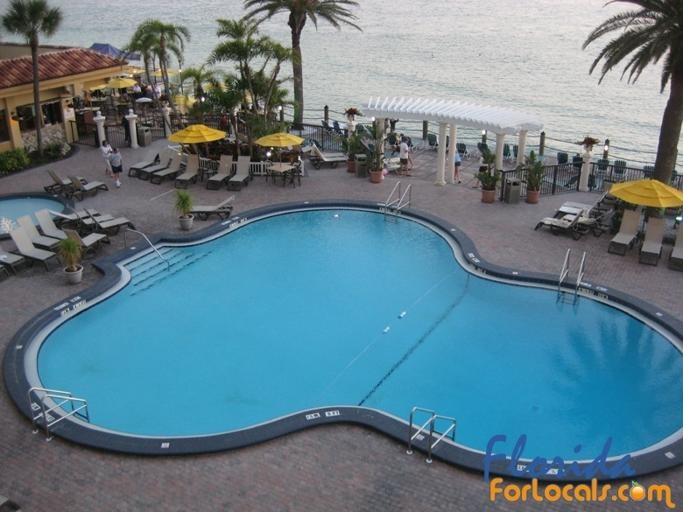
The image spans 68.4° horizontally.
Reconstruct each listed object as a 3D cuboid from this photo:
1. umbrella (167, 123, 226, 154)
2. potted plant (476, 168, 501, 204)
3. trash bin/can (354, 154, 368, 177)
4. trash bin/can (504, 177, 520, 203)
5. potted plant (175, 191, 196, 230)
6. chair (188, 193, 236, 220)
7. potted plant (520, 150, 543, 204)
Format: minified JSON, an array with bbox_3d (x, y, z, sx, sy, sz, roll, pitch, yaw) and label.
[{"bbox_3d":[-6.660,-5.751,22.404,1.860,0.702,1.895,12,29,22],"label":"umbrella"},{"bbox_3d":[6.438,-3.462,21.955,0.850,1.412,1.824,7,22,16],"label":"potted plant"},{"bbox_3d":[0.991,-4.763,24.607,0.608,1.044,0.723,1,22,1],"label":"trash bin/can"},{"bbox_3d":[7.246,-3.027,21.360,0.673,1.192,0.665,-1,29,1],"label":"trash bin/can"},{"bbox_3d":[-6.017,-1.997,19.234,0.605,1.403,1.491,-6,23,-16],"label":"potted plant"},{"bbox_3d":[-5.109,-2.093,20.060,1.817,0.785,0.986,2,32,-6],"label":"chair"},{"bbox_3d":[8.248,-3.708,21.617,0.845,2.109,1.398,9,23,20],"label":"potted plant"}]
